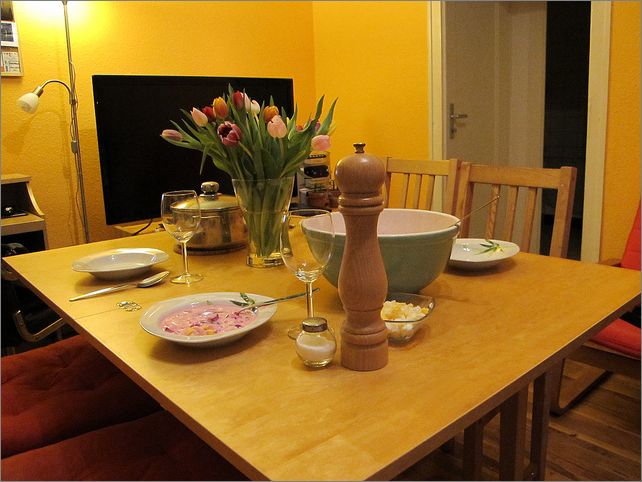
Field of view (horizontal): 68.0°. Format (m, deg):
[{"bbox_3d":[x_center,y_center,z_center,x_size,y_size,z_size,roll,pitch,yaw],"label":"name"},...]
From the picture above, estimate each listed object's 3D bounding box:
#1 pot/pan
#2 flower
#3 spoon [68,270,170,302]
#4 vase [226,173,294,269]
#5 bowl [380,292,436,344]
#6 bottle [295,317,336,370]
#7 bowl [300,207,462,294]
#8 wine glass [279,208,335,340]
[{"bbox_3d":[-0.405,-0.091,1.769,0.268,0.246,0.272,-9,10,-32],"label":"pot/pan"},{"bbox_3d":[-0.237,-0.329,1.542,0.384,0.258,0.394,13,22,24],"label":"flower"},{"bbox_3d":[-0.577,0.134,1.360,0.190,0.026,0.036,-15,1,-33],"label":"spoon"},{"bbox_3d":[-0.181,-0.068,1.502,0.249,0.346,0.265,-1,4,-8],"label":"vase"},{"bbox_3d":[0.190,0.172,1.039,0.105,0.074,0.127,2,18,14],"label":"bowl"},{"bbox_3d":[-0.010,0.203,0.961,0.083,0.091,0.089,0,5,-3],"label":"bottle"},{"bbox_3d":[0.221,0.019,1.299,0.295,0.149,0.299,0,7,0],"label":"bowl"},{"bbox_3d":[-0.031,0.058,1.117,0.116,0.268,0.255,-3,17,-2],"label":"wine glass"}]
